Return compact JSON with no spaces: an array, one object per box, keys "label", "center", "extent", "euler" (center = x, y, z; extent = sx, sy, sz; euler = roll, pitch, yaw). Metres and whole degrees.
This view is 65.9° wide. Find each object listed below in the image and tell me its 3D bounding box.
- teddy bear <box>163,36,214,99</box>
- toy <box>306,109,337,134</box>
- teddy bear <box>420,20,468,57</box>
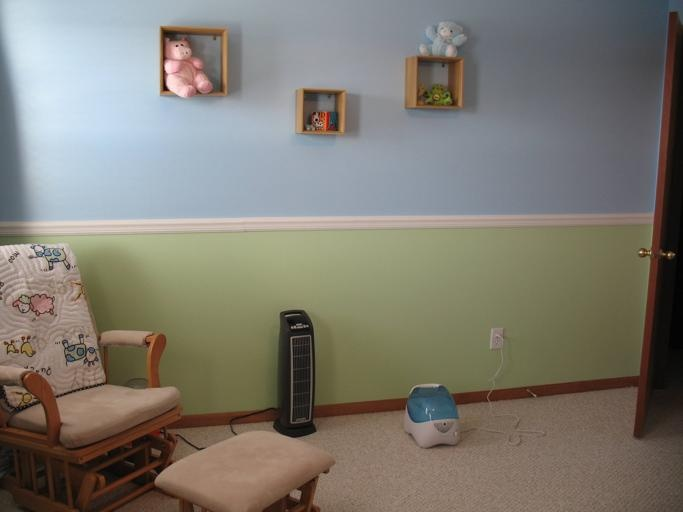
[{"label":"teddy bear","center":[-0.904,-1.097,3.021],"extent":[0.257,0.332,0.235],"euler":[18,39,21]},{"label":"toy","center":[-0.121,-0.817,3.211],"extent":[0.198,0.125,0.094],"euler":[0,14,-3]},{"label":"teddy bear","center":[0.650,-1.365,3.338],"extent":[0.271,0.230,0.163],"euler":[14,27,12]}]
